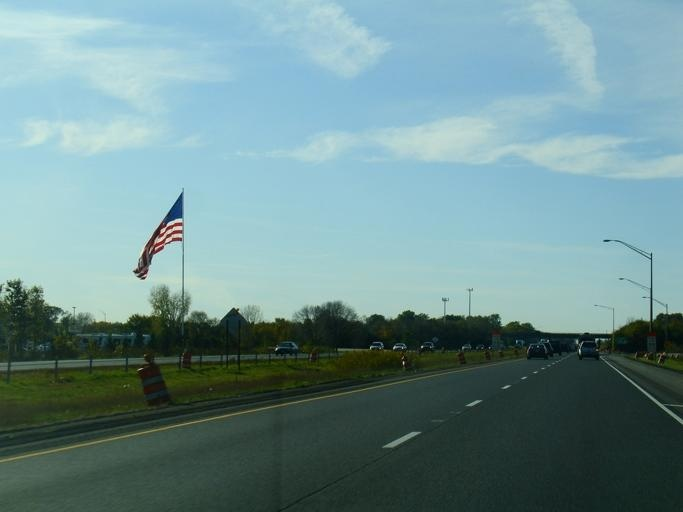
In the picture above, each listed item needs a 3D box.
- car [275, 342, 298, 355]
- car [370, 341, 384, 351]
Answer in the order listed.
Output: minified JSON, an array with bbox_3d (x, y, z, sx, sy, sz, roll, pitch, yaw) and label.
[{"bbox_3d":[-4.948,8.260,86.987,2.014,1.024,1.269,-2,1,-36],"label":"car"},{"bbox_3d":[3.920,10.370,112.760,1.495,1.416,2.678,-1,-14,3],"label":"car"}]
